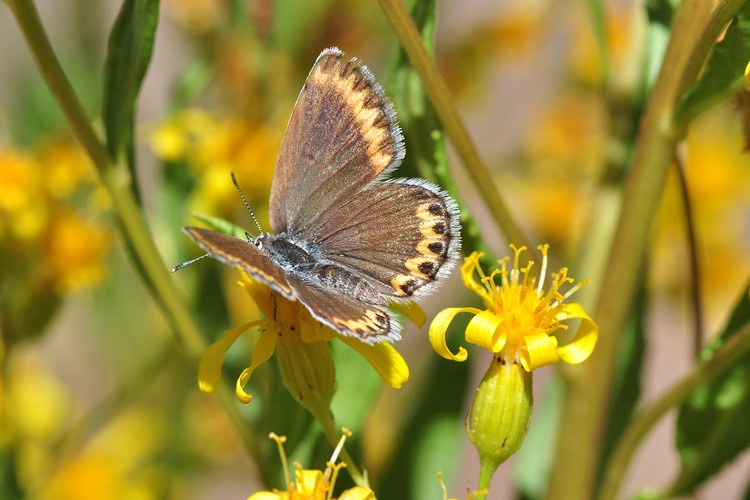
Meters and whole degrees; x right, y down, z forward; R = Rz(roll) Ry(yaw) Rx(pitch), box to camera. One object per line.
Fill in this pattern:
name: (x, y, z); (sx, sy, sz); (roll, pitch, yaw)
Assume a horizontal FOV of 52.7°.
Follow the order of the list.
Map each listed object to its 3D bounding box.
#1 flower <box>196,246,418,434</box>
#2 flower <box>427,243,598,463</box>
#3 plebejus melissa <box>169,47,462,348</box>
flower: (-0.089, 0.092, 0.795); (0.240, 0.115, 0.213); (13, 21, -44)
flower: (0.137, 0.111, 0.803); (0.170, 0.225, 0.167); (9, -1, 2)
plebejus melissa: (-0.045, -0.004, 0.948); (0.303, 0.360, 0.187); (35, -18, 13)
